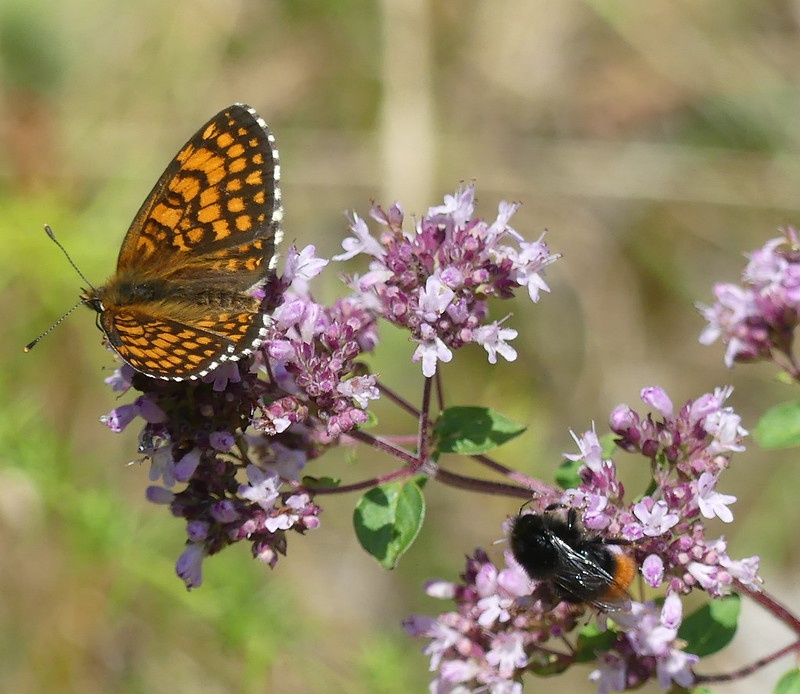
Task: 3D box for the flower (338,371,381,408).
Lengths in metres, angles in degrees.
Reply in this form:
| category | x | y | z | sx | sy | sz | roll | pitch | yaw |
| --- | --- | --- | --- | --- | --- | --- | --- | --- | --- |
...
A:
| category | x | y | z | sx | sy | sz | roll | pitch | yaw |
| --- | --- | --- | --- | --- | --- | --- | --- | --- | --- |
| flower | -0.221 | 0.235 | 5.395 | 0.207 | 0.189 | 0.077 | -6 | -41 | -13 |

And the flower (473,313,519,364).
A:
| category | x | y | z | sx | sy | sz | roll | pitch | yaw |
| --- | --- | --- | --- | --- | --- | --- | --- | --- | --- |
| flower | 0.539 | 0.010 | 5.589 | 0.287 | 0.119 | 0.293 | -23 | -43 | -19 |

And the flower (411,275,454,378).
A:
| category | x | y | z | sx | sy | sz | roll | pitch | yaw |
| --- | --- | --- | --- | --- | --- | --- | --- | --- | --- |
| flower | 0.195 | -0.106 | 5.451 | 0.232 | 0.548 | 0.107 | 4 | -9 | 22 |
